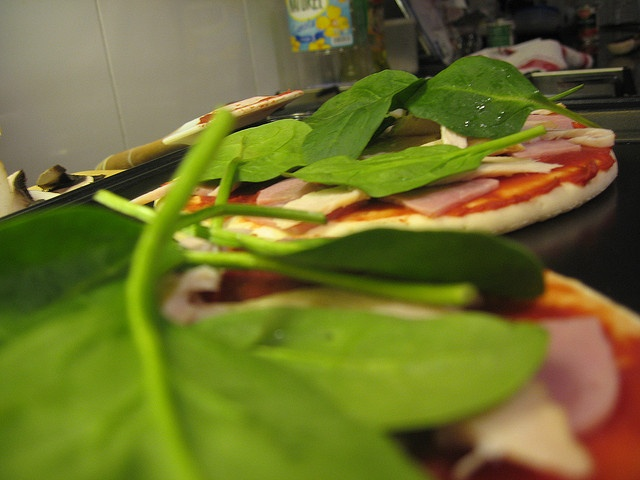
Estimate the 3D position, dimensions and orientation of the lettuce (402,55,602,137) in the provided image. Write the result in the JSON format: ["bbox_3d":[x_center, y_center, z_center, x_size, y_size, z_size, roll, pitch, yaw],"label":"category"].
[{"bbox_3d":[0.108,-0.097,0.371,0.128,0.014,0.062,17,56,35],"label":"lettuce"}]

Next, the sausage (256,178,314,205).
[{"bbox_3d":[-0.023,-0.035,0.408,0.036,0.006,0.034,-16,13,-39],"label":"sausage"}]
